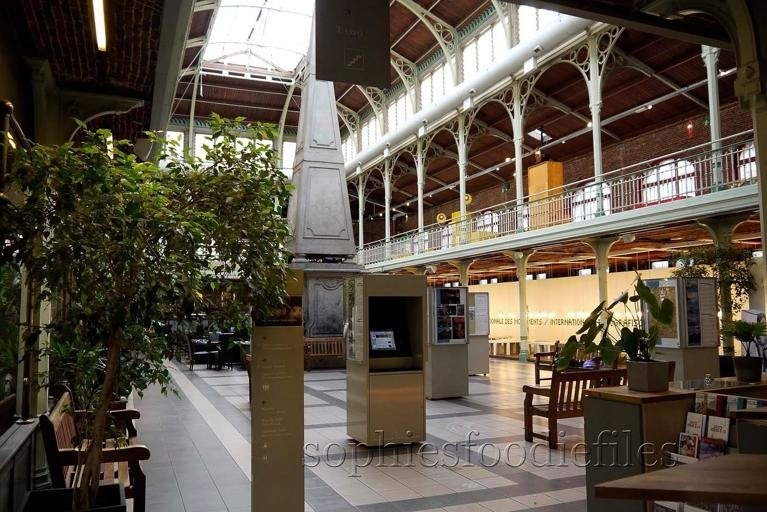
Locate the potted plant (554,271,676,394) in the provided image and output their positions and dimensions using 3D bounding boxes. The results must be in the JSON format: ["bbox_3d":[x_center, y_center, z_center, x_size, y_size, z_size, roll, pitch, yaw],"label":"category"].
[{"bbox_3d":[2.183,0.637,5.102,1.248,0.580,1.177,-21,-5,-27],"label":"potted plant"}]

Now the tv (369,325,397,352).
[{"bbox_3d":[-0.031,1.230,7.810,0.490,0.400,0.256,4,-26,-16],"label":"tv"}]
